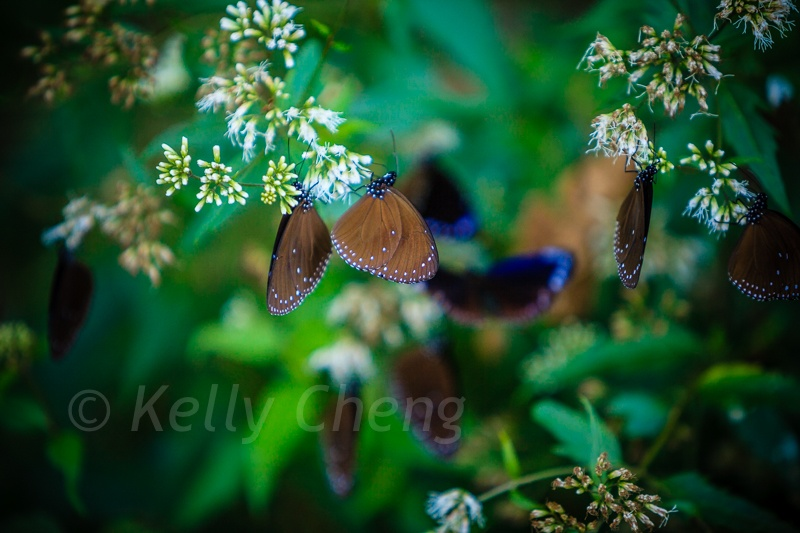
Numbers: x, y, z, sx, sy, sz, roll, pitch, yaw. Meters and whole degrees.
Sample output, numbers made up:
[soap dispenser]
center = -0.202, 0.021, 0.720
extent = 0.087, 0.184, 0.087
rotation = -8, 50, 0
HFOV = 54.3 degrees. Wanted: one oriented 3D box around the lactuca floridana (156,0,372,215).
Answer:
[lactuca floridana]
center = -0.307, -0.345, 1.719
extent = 0.472, 0.446, 0.373
rotation = -3, 30, -14
